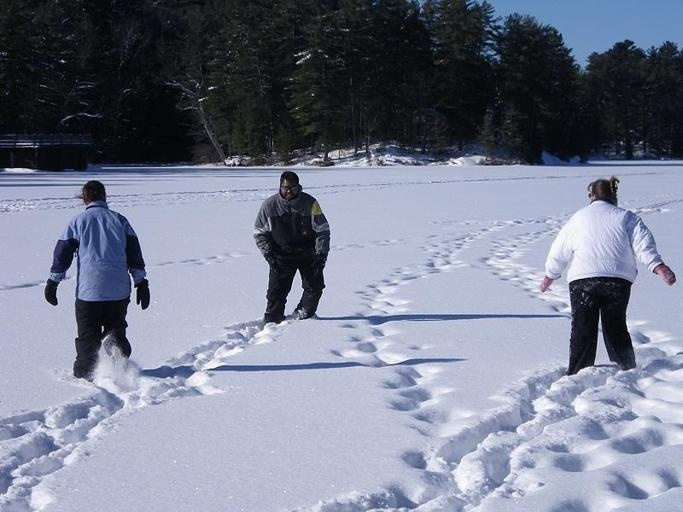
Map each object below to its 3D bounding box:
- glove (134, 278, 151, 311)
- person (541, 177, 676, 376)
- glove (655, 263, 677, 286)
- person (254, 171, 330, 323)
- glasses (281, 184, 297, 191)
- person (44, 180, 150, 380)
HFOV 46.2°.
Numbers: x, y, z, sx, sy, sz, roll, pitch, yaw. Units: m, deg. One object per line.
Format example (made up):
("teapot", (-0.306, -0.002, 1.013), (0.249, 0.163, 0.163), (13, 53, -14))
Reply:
("glove", (-1.960, 0.370, 8.053), (0.218, 0.314, 0.093), (-4, 5, 25))
("person", (2.430, 0.321, 7.561), (1.013, 1.578, 0.457), (2, 15, 8))
("glove", (2.939, 0.166, 7.332), (0.169, 0.235, 0.275), (6, 16, 21))
("person", (-0.568, -0.016, 9.403), (0.853, 1.962, 0.639), (1, 22, 6))
("glasses", (-0.586, -0.765, 9.010), (0.167, 0.068, 0.078), (0, 15, 0))
("person", (-2.357, 0.232, 7.740), (0.957, 1.809, 0.548), (-6, 16, -22))
